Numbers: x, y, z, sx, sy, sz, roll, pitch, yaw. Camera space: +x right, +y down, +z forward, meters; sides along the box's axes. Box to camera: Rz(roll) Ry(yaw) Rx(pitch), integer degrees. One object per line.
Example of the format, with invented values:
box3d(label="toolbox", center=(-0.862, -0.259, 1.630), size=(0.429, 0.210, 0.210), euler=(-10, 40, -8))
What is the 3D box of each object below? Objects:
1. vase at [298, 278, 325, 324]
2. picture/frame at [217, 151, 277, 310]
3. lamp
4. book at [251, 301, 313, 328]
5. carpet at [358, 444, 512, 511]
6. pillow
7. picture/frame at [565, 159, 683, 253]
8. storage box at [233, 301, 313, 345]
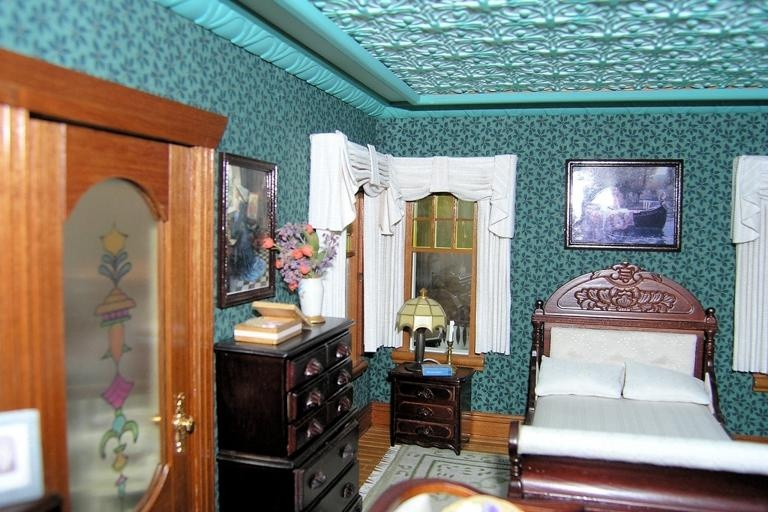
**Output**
box3d(label="vase", center=(-0.582, 0.373, 4.744), size=(0.249, 0.373, 0.241), euler=(-9, 6, -32))
box3d(label="picture/frame", center=(-1.085, -0.199, 4.336), size=(0.056, 1.185, 0.683), euler=(1, 2, 25))
box3d(label="lamp", center=(0.437, 0.859, 6.285), size=(0.577, 0.938, 0.309), euler=(1, 2, 23))
box3d(label="book", center=(-0.825, 0.435, 4.255), size=(0.350, 0.200, 0.234), euler=(5, 39, 7))
box3d(label="carpet", center=(0.595, 2.337, 5.744), size=(1.475, 0.199, 1.354), euler=(1, 2, 11))
box3d(label="pillow", center=(2.620, 1.228, 5.975), size=(1.844, 0.697, 0.774), euler=(0, 27, 9))
box3d(label="picture/frame", center=(2.868, -0.603, 6.283), size=(1.125, 0.914, 0.076), euler=(1, -1, 2))
box3d(label="storage box", center=(-0.858, 0.500, 4.174), size=(0.307, 0.207, 0.416), euler=(0, 1, 19))
